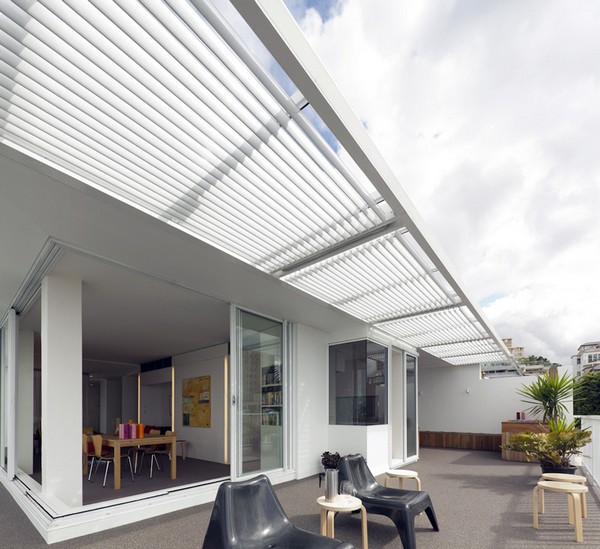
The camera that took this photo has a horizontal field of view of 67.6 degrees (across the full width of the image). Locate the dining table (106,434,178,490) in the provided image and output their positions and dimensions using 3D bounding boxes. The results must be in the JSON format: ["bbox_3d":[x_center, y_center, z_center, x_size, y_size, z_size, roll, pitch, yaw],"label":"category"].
[{"bbox_3d":[-2.988,3.334,8.744,1.317,1.178,1.380,8,-16,-33],"label":"dining table"}]

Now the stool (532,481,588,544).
[{"bbox_3d":[3.329,3.045,5.730,0.608,0.670,0.699,-7,-14,32],"label":"stool"}]

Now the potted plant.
[{"bbox_3d":[5.311,3.677,9.633,1.551,1.304,1.716,-6,-19,24],"label":"potted plant"}]

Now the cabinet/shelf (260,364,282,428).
[{"bbox_3d":[-0.532,2.320,8.479,0.267,0.977,0.521,-2,-14,-3],"label":"cabinet/shelf"}]
